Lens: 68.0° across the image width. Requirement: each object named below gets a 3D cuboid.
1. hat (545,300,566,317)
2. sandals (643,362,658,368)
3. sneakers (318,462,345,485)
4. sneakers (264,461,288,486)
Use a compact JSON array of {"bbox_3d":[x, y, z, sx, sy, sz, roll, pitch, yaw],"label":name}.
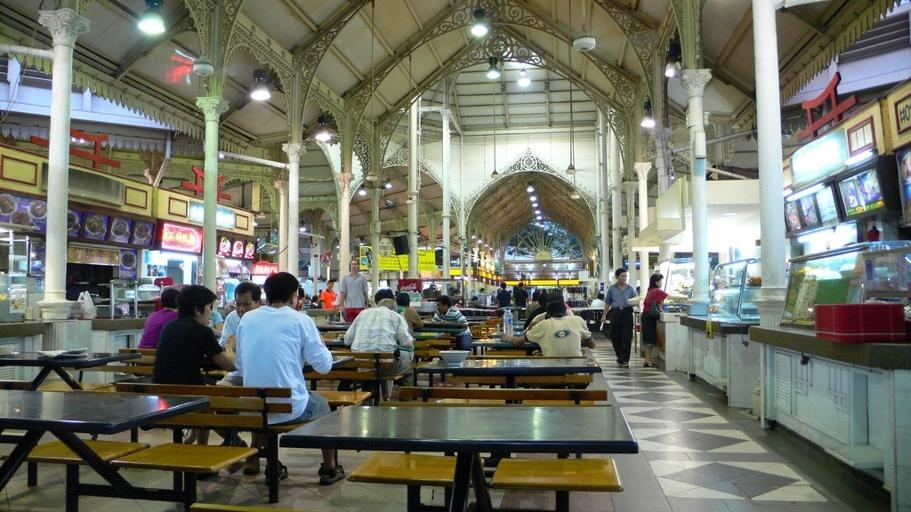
[{"bbox_3d":[1.691,0.858,11.220,0.247,0.230,0.298,0,-16,1],"label":"hat"},{"bbox_3d":[4.550,2.513,15.655,0.269,0.097,0.143,0,-3,-4],"label":"sandals"},{"bbox_3d":[-1.678,2.949,9.208,0.170,0.200,0.491,2,-1,15],"label":"sneakers"},{"bbox_3d":[-2.381,2.921,9.117,0.168,0.253,0.558,1,0,4],"label":"sneakers"}]
